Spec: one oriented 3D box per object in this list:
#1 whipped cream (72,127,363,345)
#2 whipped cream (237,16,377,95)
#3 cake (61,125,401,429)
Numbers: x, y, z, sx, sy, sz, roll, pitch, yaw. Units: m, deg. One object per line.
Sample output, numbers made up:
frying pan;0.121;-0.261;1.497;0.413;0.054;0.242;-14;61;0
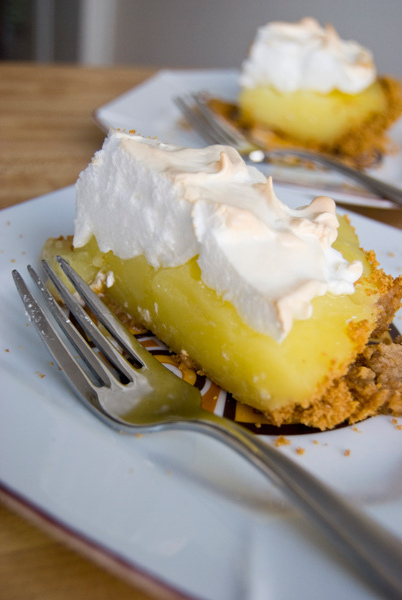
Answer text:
whipped cream;-0.037;-0.070;0.827;0.423;0.135;0.262;27;13;21
whipped cream;0.322;-0.708;1.686;0.409;0.134;0.239;14;60;25
cake;0.028;-0.032;0.898;0.556;0.215;0.327;35;45;28
